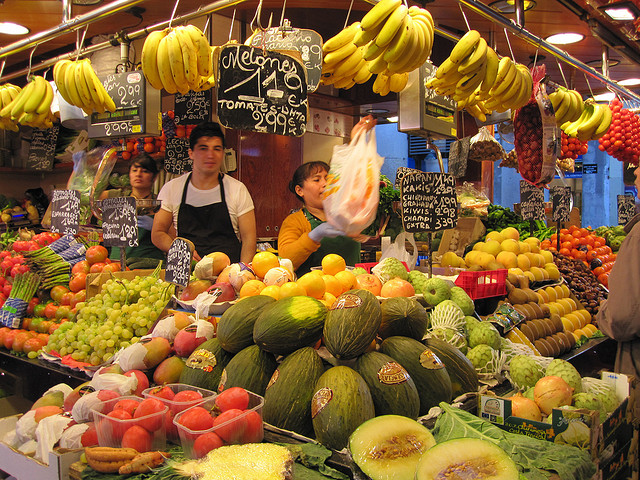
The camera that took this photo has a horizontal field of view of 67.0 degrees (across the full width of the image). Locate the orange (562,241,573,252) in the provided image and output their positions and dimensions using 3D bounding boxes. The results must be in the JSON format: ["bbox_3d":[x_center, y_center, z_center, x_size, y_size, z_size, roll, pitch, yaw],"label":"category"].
[{"bbox_3d":[2.739,0.072,5.304,0.088,0.092,0.092,-3,11,-2],"label":"orange"}]

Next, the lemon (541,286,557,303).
[{"bbox_3d":[1.772,0.421,3.719,0.107,0.112,0.058,16,-15,-31],"label":"lemon"}]

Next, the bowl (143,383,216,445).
[{"bbox_3d":[-0.590,0.730,2.051,0.187,0.143,0.281,5,2,36],"label":"bowl"}]

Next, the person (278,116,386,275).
[{"bbox_3d":[0.039,-0.253,3.528,0.657,1.240,1.335,2,11,-5],"label":"person"}]

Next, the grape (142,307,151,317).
[{"bbox_3d":[-1.010,0.420,2.795,0.042,0.050,0.041,34,-29,-17],"label":"grape"}]

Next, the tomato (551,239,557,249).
[{"bbox_3d":[2.573,0.032,5.261,0.058,0.101,0.157,8,12,24],"label":"tomato"}]

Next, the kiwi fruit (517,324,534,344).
[{"bbox_3d":[1.293,0.589,3.012,0.106,0.101,0.076,0,11,-14],"label":"kiwi fruit"}]

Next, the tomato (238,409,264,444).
[{"bbox_3d":[-0.275,0.743,1.887,0.117,0.116,0.120,-7,-4,10],"label":"tomato"}]

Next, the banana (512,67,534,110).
[{"bbox_3d":[1.771,-1.310,4.119,0.085,0.270,0.224,2,17,14],"label":"banana"}]

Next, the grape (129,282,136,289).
[{"bbox_3d":[-1.133,0.275,2.893,0.028,0.028,0.028,-36,-14,-14],"label":"grape"}]

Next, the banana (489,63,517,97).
[{"bbox_3d":[1.467,-1.293,3.848,0.062,0.245,0.079,26,2,-25],"label":"banana"}]

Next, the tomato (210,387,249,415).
[{"bbox_3d":[-0.355,0.626,1.888,0.131,0.080,0.073,-13,31,-4],"label":"tomato"}]

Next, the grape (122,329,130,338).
[{"bbox_3d":[-1.125,0.539,2.790,0.048,0.043,0.042,16,-3,3],"label":"grape"}]

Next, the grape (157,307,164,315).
[{"bbox_3d":[-0.943,0.416,2.846,0.031,0.032,0.036,-20,21,-40],"label":"grape"}]

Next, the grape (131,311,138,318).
[{"bbox_3d":[-1.078,0.434,2.794,0.031,0.028,0.027,16,12,-13],"label":"grape"}]

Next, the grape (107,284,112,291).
[{"bbox_3d":[-1.291,0.289,2.940,0.032,0.029,0.028,14,23,25],"label":"grape"}]

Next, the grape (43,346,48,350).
[{"bbox_3d":[-1.733,0.679,3.035,0.021,0.012,0.021,-1,-6,4],"label":"grape"}]

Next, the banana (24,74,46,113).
[{"bbox_3d":[-2.722,-1.377,4.559,0.188,0.340,0.175,6,11,15],"label":"banana"}]

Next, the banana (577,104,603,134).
[{"bbox_3d":[2.937,-1.263,5.175,0.227,0.281,0.089,16,-10,34],"label":"banana"}]

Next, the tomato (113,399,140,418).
[{"bbox_3d":[-0.783,0.689,1.938,0.074,0.067,0.063,17,-37,-22],"label":"tomato"}]

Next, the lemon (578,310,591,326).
[{"bbox_3d":[2.091,0.617,3.760,0.094,0.106,0.100,2,-7,-42],"label":"lemon"}]

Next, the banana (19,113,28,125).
[{"bbox_3d":[-2.904,-1.173,4.689,0.034,0.107,0.091,34,22,0],"label":"banana"}]

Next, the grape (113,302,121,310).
[{"bbox_3d":[-1.210,0.391,2.855,0.033,0.035,0.038,-5,9,-37],"label":"grape"}]

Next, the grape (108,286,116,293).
[{"bbox_3d":[-1.262,0.300,2.914,0.037,0.038,0.043,-4,5,-43],"label":"grape"}]

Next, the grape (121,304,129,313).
[{"bbox_3d":[-1.141,0.398,2.822,0.044,0.040,0.038,13,11,30],"label":"grape"}]

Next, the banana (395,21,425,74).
[{"bbox_3d":[0.631,-1.244,3.145,0.080,0.258,0.213,23,-12,-17],"label":"banana"}]

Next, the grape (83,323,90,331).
[{"bbox_3d":[-1.403,0.522,2.884,0.018,0.034,0.027,31,-19,-32],"label":"grape"}]

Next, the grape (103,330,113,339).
[{"bbox_3d":[-1.218,0.543,2.753,0.034,0.048,0.036,13,-32,13],"label":"grape"}]

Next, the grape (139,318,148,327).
[{"bbox_3d":[-1.029,0.478,2.794,0.031,0.043,0.032,5,-21,37],"label":"grape"}]

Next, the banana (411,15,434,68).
[{"bbox_3d":[0.705,-1.363,3.216,0.060,0.232,0.227,11,28,11],"label":"banana"}]

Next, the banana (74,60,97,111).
[{"bbox_3d":[-1.910,-1.253,3.891,0.088,0.321,0.240,-8,11,0],"label":"banana"}]

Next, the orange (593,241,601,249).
[{"bbox_3d":[3.279,0.055,5.671,0.084,0.091,0.105,-4,9,6],"label":"orange"}]

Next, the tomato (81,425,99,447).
[{"bbox_3d":[-0.928,0.787,1.942,0.077,0.062,0.080,-11,-21,20],"label":"tomato"}]

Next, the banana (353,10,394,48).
[{"bbox_3d":[0.324,-1.272,3.022,0.089,0.111,0.332,-2,-18,-28],"label":"banana"}]

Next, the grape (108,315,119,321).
[{"bbox_3d":[-1.223,0.461,2.827,0.028,0.030,0.033,5,-9,-28],"label":"grape"}]

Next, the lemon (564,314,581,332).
[{"bbox_3d":[1.899,0.602,3.579,0.108,0.137,0.113,-6,15,10],"label":"lemon"}]

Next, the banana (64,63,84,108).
[{"bbox_3d":[-2.006,-1.251,3.922,0.079,0.288,0.215,-5,5,-6],"label":"banana"}]

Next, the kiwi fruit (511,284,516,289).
[{"bbox_3d":[1.358,0.324,3.366,0.022,0.030,0.071,10,13,32],"label":"kiwi fruit"}]

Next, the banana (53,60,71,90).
[{"bbox_3d":[-2.176,-1.407,4.006,0.055,0.181,0.147,-1,-17,-7],"label":"banana"}]

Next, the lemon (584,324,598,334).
[{"bbox_3d":[2.106,0.688,3.720,0.048,0.068,0.066,-6,41,2],"label":"lemon"}]

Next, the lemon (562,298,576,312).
[{"bbox_3d":[2.000,0.507,3.796,0.098,0.103,0.099,-14,4,-19],"label":"lemon"}]

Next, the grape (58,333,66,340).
[{"bbox_3d":[-1.592,0.594,2.959,0.037,0.034,0.032,6,14,37],"label":"grape"}]

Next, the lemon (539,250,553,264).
[{"bbox_3d":[1.902,0.140,4.038,0.086,0.116,0.083,21,-6,-40],"label":"lemon"}]
